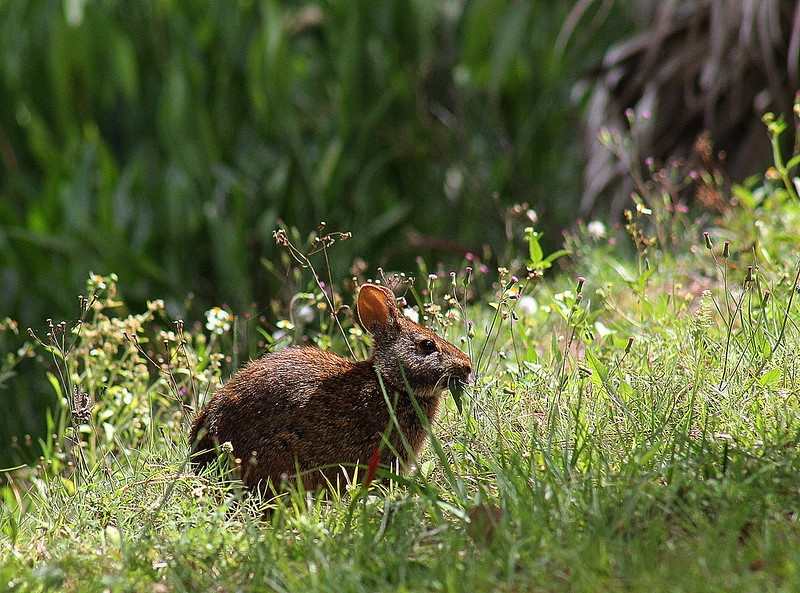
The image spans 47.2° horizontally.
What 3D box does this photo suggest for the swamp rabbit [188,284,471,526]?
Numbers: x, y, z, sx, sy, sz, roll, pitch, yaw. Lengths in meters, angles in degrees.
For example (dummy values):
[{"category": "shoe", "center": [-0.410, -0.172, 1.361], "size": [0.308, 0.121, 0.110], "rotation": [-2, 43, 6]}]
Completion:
[{"category": "swamp rabbit", "center": [-0.306, 0.525, 3.832], "size": [1.219, 1.031, 0.709], "rotation": [-9, -9, 2]}]
